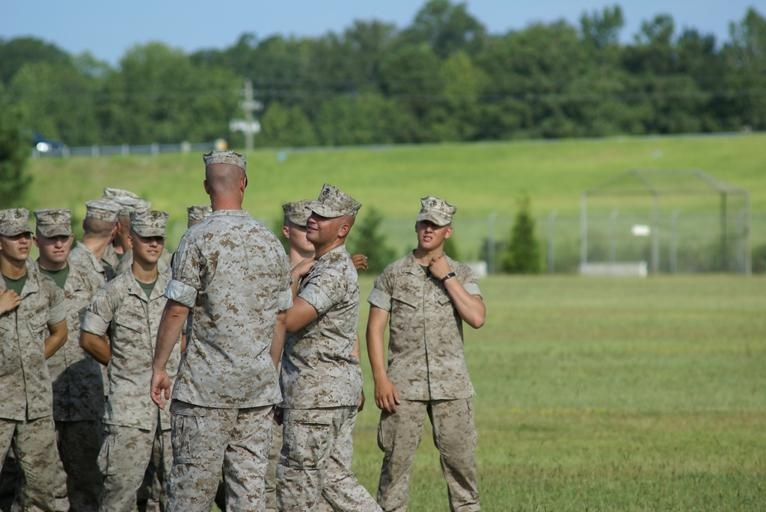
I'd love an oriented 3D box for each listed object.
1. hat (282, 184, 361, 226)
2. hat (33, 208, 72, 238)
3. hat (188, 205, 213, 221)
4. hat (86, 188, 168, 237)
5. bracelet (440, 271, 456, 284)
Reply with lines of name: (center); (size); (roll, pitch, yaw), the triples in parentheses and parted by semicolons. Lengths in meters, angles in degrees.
hat: (-0.933, -0.814, 30.175); (1.075, 0.464, 0.735); (2, -7, -23)
hat: (-5.655, -0.547, 31.355); (0.431, 0.303, 0.569); (0, 3, -18)
hat: (-3.155, -0.736, 31.576); (0.323, 0.188, 0.321); (-2, -1, 34)
hat: (-4.411, -0.728, 31.909); (0.918, 0.477, 0.808); (7, 5, 18)
bracelet: (1.084, 0.347, 30.621); (0.258, 0.176, 0.103); (-3, 9, -26)
